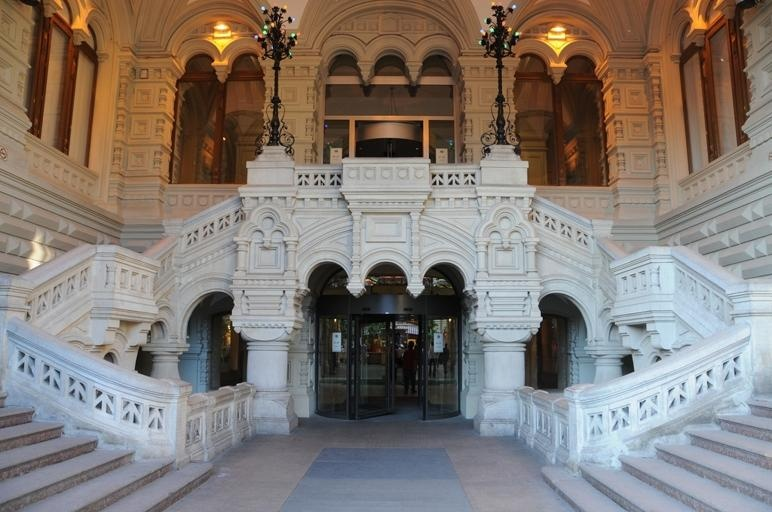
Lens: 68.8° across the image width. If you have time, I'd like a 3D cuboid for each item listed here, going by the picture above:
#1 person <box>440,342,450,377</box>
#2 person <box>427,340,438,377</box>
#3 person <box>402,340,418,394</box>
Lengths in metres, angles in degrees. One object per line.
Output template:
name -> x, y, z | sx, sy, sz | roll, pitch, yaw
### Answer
person -> 1.583, 2.804, 15.144 | 0.106, 0.895, 0.355 | -10, -15, 37
person -> 1.239, 2.750, 14.952 | 0.280, 0.923, 0.121 | 7, -14, -33
person -> 0.696, 3.204, 16.151 | 0.412, 1.489, 1.110 | -2, -12, 2
